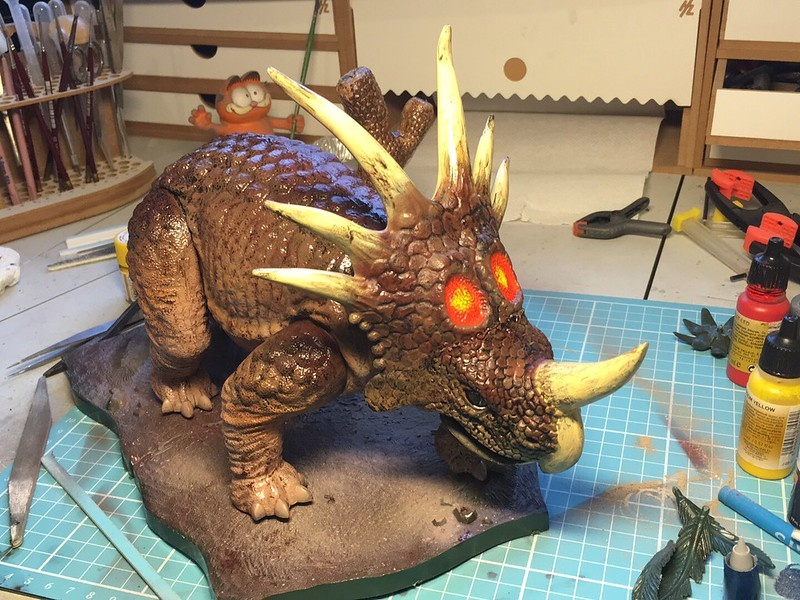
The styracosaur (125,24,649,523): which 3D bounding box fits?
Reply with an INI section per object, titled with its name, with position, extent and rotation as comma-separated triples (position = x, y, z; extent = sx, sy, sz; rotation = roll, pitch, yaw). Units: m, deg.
[styracosaur]
position = -0.080, -0.018, 1.189
extent = 0.994, 0.827, 0.475
rotation = 21, 35, 29
